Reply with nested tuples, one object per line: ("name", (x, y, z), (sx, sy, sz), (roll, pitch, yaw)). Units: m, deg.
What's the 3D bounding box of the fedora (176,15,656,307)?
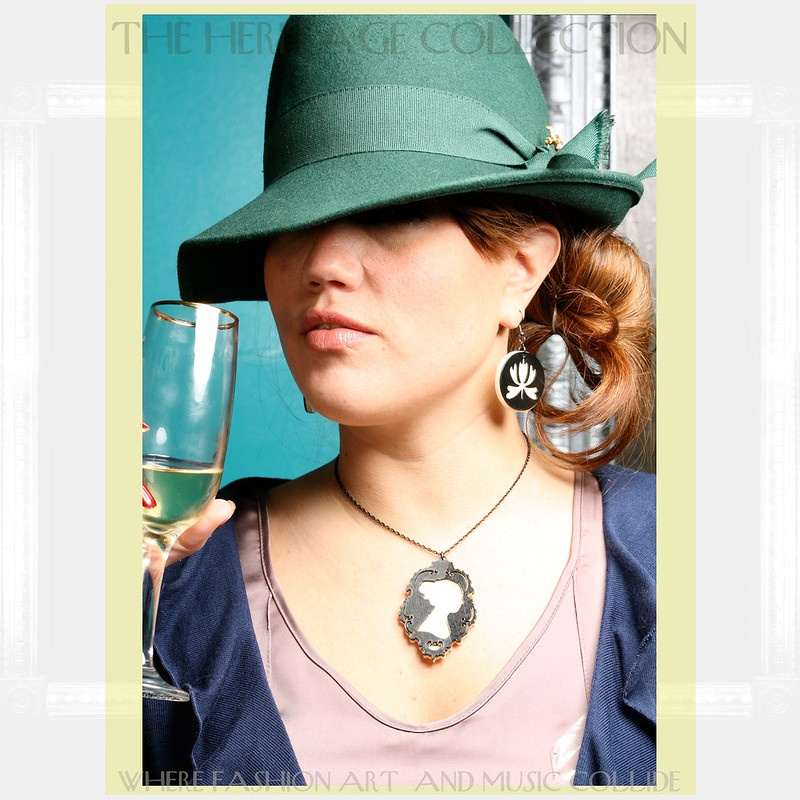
("fedora", (-0.015, -0.373, 1.582), (0.432, 0.279, 0.458), (-16, -20, 35))
